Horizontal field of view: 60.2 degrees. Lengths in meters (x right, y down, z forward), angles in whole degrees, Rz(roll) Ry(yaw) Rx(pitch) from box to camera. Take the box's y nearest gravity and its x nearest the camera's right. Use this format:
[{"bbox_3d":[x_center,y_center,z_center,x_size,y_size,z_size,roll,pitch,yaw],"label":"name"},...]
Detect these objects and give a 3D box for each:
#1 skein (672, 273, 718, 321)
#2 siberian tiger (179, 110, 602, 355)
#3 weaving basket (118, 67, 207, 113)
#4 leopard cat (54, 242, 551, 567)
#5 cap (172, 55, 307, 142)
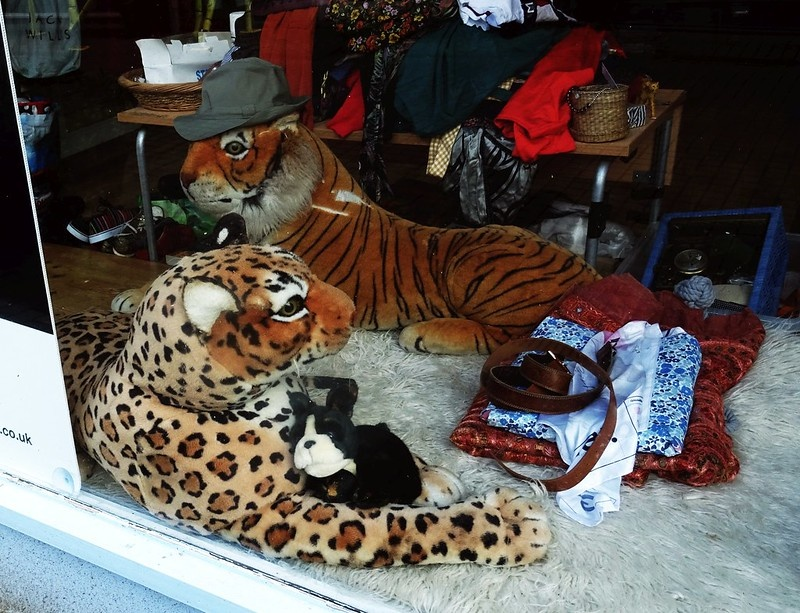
[{"bbox_3d":[0.891,-0.038,2.069,0.073,0.100,0.138,-3,22,-25],"label":"skein"},{"bbox_3d":[-0.069,-0.239,1.941,1.449,0.490,0.436,7,45,1],"label":"siberian tiger"},{"bbox_3d":[-0.550,-0.522,1.646,0.175,0.085,0.183,19,31,31],"label":"weaving basket"},{"bbox_3d":[-0.273,0.206,1.493,1.280,0.632,0.379,12,31,14],"label":"leopard cat"},{"bbox_3d":[-0.361,-0.511,1.660,0.332,0.179,0.294,8,25,16],"label":"cap"}]
